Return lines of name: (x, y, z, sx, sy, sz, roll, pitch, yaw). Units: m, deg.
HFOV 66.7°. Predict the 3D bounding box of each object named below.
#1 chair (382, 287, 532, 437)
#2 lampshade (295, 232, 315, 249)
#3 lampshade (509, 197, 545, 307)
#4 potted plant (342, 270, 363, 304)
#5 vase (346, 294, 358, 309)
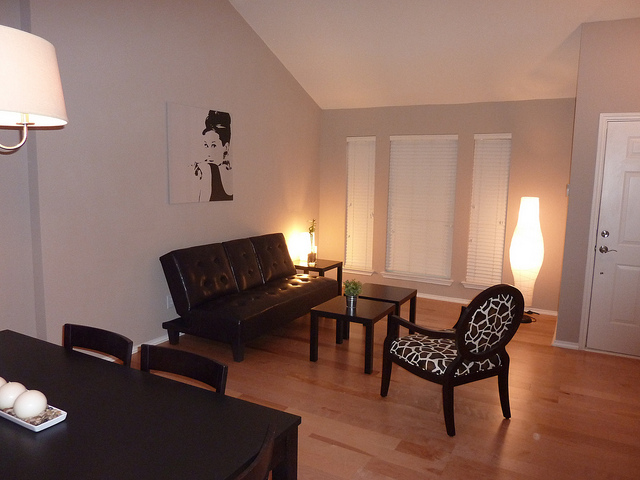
chair: (1.010, 0.812, 3.828, 0.814, 1.154, 0.927, 0, 10, -15)
lampshade: (-0.209, 0.022, 6.640, 0.219, 0.247, 0.214, -4, 12, -22)
lampshade: (2.443, 0.180, 5.752, 0.364, 1.367, 0.219, 3, 13, 10)
potted plant: (0.296, 0.500, 4.678, 0.186, 0.271, 0.191, 6, -4, -26)
vase: (0.299, 0.588, 4.634, 0.126, 0.102, 0.116, 0, 3, -22)
